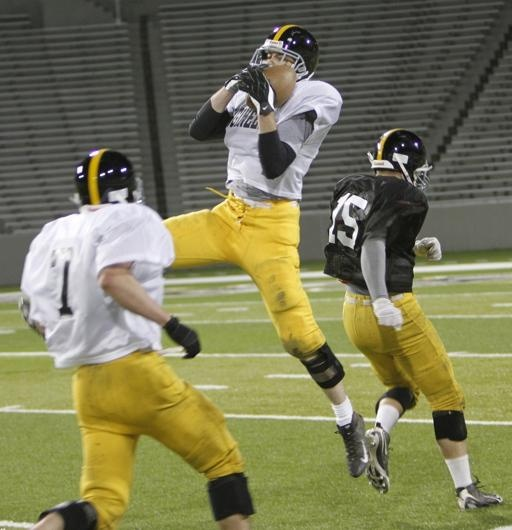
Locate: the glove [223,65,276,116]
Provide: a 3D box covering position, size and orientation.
[{"bbox_3d":[-0.024,-0.781,4.141,0.216,0.244,0.366,-2,25,0],"label":"glove"}]

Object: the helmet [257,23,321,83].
[{"bbox_3d":[0.167,-1.016,4.431,0.343,0.214,0.231,11,13,-35],"label":"helmet"}]

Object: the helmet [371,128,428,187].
[{"bbox_3d":[0.649,-0.500,4.279,0.372,0.264,0.235,-6,14,-14],"label":"helmet"}]

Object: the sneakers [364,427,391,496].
[{"bbox_3d":[0.539,0.853,4.046,0.108,0.252,0.141,-5,1,37],"label":"sneakers"}]

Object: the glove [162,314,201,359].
[{"bbox_3d":[-0.269,0.260,3.342,0.179,0.129,0.061,37,58,-7],"label":"glove"}]

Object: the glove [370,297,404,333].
[{"bbox_3d":[0.572,0.208,4.043,0.132,0.178,0.177,3,27,8],"label":"glove"}]

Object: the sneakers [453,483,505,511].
[{"bbox_3d":[0.928,1.002,4.002,0.272,0.125,0.078,-6,-5,-4],"label":"sneakers"}]

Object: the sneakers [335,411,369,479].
[{"bbox_3d":[0.444,0.839,4.308,0.157,0.100,0.288,10,54,-31],"label":"sneakers"}]
